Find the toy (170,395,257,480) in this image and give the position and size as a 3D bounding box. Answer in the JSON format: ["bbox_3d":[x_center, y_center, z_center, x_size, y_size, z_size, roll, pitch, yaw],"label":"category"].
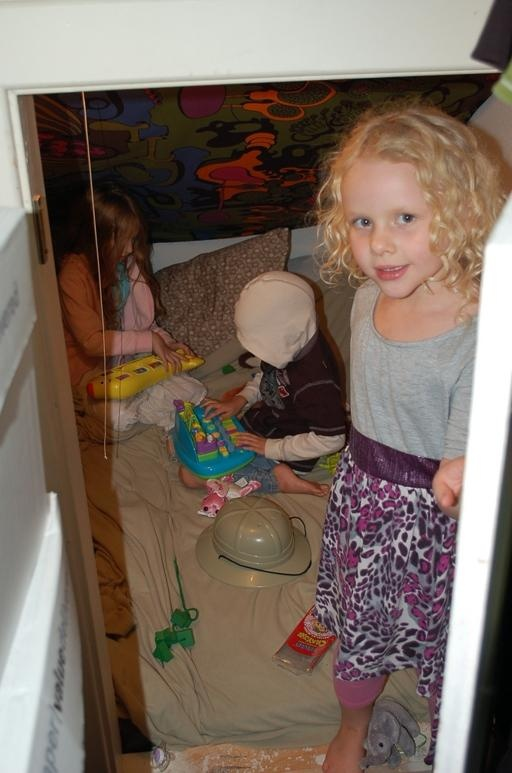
[{"bbox_3d":[-0.155,0.127,1.666,0.180,0.081,0.247,-17,41,-18],"label":"toy"}]
